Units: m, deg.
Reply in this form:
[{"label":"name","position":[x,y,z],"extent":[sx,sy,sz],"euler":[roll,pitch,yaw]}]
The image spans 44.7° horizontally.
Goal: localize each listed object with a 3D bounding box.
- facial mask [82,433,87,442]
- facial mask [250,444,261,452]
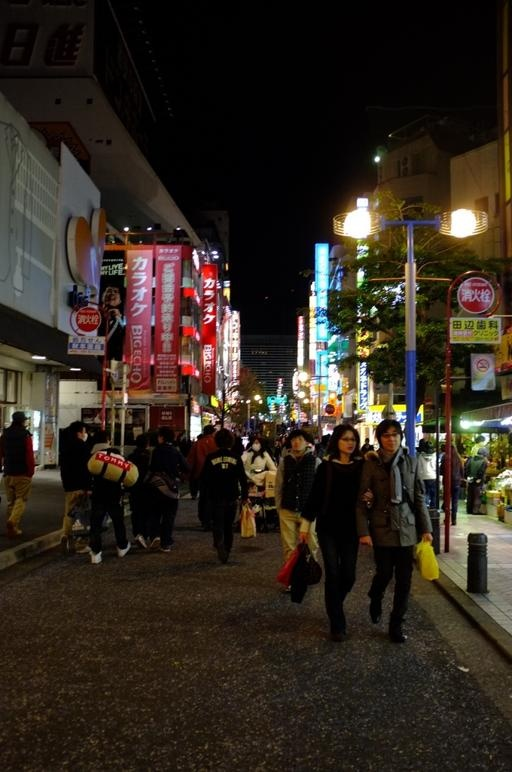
[{"label":"facial mask","position":[-2.805,0.847,10.199],"extent":[0.092,0.133,0.096],"euler":[7,25,-25]},{"label":"facial mask","position":[0.021,1.099,11.374],"extent":[0.128,0.178,0.167],"euler":[18,-13,-33]}]
